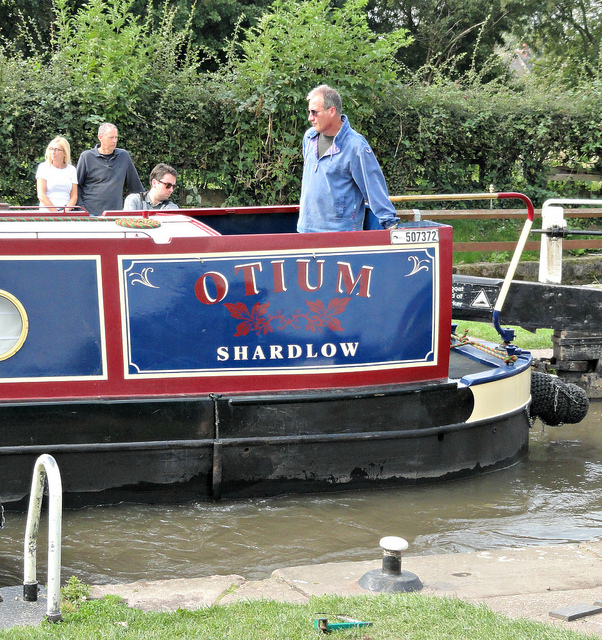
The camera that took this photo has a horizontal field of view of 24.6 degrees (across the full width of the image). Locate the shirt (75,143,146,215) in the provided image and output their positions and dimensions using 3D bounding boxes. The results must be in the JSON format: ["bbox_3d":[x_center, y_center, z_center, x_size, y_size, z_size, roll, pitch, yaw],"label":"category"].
[{"bbox_3d":[-1.730,-1.236,12.185,0.576,0.593,0.383,-3,14,-13],"label":"shirt"}]

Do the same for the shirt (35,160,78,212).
[{"bbox_3d":[-2.124,-1.191,11.948,0.359,0.376,0.355,-3,13,-15],"label":"shirt"}]

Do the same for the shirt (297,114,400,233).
[{"bbox_3d":[0.330,-1.055,10.071,0.924,0.858,0.336,11,18,41],"label":"shirt"}]

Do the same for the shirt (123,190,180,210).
[{"bbox_3d":[-1.252,-0.980,11.285,0.414,0.122,0.366,-1,12,-5],"label":"shirt"}]
